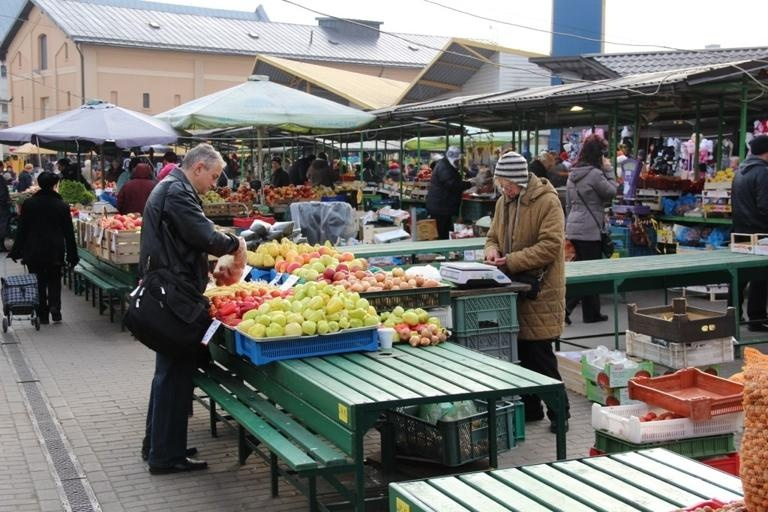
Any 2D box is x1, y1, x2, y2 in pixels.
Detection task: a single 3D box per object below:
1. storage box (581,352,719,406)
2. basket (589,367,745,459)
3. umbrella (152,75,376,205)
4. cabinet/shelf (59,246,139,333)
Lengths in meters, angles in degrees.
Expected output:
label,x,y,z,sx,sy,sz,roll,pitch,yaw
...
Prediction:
label,x,y,z,sx,sy,sz,roll,pitch,yaw
storage box,2.391,1.128,7.598,0.823,0.325,0.785,-5,9,-24
basket,2.255,1.236,6.031,1.157,0.347,0.721,-10,12,-30
umbrella,-2.289,-2.548,13.584,2.357,1.064,2.640,2,4,15
cabinet/shelf,-4.437,0.464,11.974,1.594,1.273,1.783,1,0,6
